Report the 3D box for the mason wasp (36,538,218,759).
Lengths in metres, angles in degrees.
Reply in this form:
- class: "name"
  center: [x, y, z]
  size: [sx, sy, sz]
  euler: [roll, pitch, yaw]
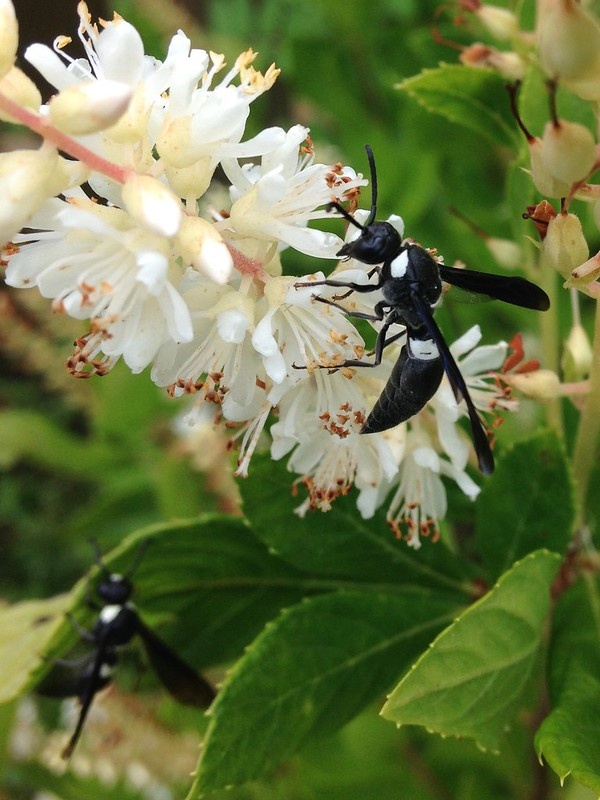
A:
- class: "mason wasp"
  center: [-0.226, 0.318, 1.005]
  size: [0.176, 0.364, 0.191]
  euler: [-26, 67, -28]
